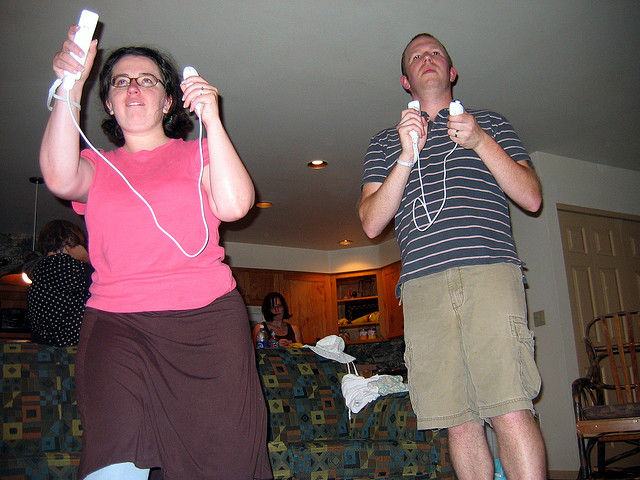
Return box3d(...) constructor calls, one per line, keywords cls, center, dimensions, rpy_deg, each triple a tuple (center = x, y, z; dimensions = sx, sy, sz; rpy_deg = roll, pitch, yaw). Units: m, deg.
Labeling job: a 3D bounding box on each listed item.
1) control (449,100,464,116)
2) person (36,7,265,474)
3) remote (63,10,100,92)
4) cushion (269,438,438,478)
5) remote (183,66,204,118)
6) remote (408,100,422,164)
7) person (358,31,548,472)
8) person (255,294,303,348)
box3d(cls="control", center=(0.454, -0.447, 1.616), dimensions=(0.038, 0.058, 0.015), rpy_deg=(1, -31, 19))
box3d(cls="person", center=(-0.451, 0.007, 1.307), dimensions=(0.562, 1.263, 0.305), rpy_deg=(-4, -13, -4))
box3d(cls="remote", center=(-0.643, -0.527, 1.304), dimensions=(0.064, 0.255, 0.026), rpy_deg=(14, -6, -19))
box3d(cls="cushion", center=(0.156, 1.003, 2.166), dimensions=(0.743, 0.198, 0.138), rpy_deg=(-5, -13, -6))
box3d(cls="remote", center=(-0.339, -0.419, 1.315), dimensions=(0.045, 0.187, 0.043), rpy_deg=(-10, -13, -3))
box3d(cls="remote", center=(0.347, -0.393, 1.707), dimensions=(0.053, 0.237, 0.053), rpy_deg=(-1, -11, 29))
box3d(cls="person", center=(0.454, -0.055, 1.728), dimensions=(0.637, 1.691, 0.374), rpy_deg=(-13, -15, 28))
box3d(cls="person", center=(-0.485, 0.988, 5.438), dimensions=(0.580, 0.750, 0.370), rpy_deg=(6, -20, -27))
